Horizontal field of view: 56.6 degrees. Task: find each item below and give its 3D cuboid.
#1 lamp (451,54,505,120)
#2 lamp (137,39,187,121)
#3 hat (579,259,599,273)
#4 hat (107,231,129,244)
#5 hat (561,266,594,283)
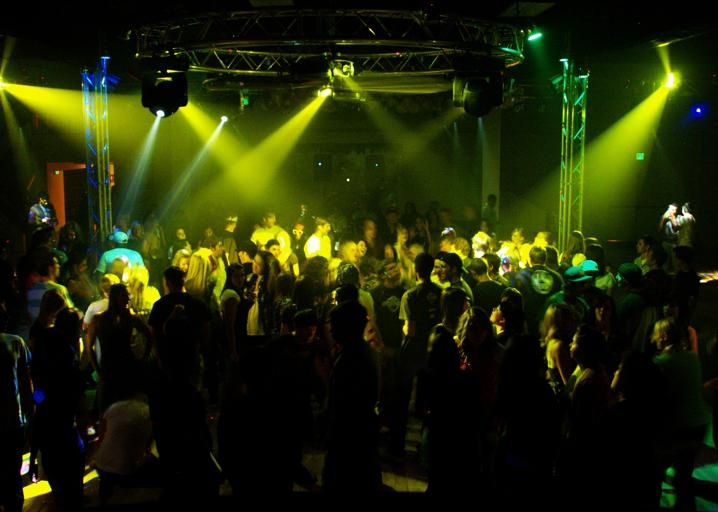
[{"bbox_3d":[1.702,-2.442,10.110,0.951,1.263,0.830,0,1,-2],"label":"lamp"},{"bbox_3d":[-2.915,-2.632,10.118,0.786,1.002,0.554,0,7,-2],"label":"lamp"},{"bbox_3d":[2.865,0.132,8.277,0.181,0.146,0.266,-1,-9,13],"label":"hat"},{"bbox_3d":[-3.900,-0.313,10.816,0.307,0.165,0.220,27,13,25],"label":"hat"},{"bbox_3d":[2.568,0.209,7.761,0.263,0.149,0.198,-1,4,9],"label":"hat"}]
